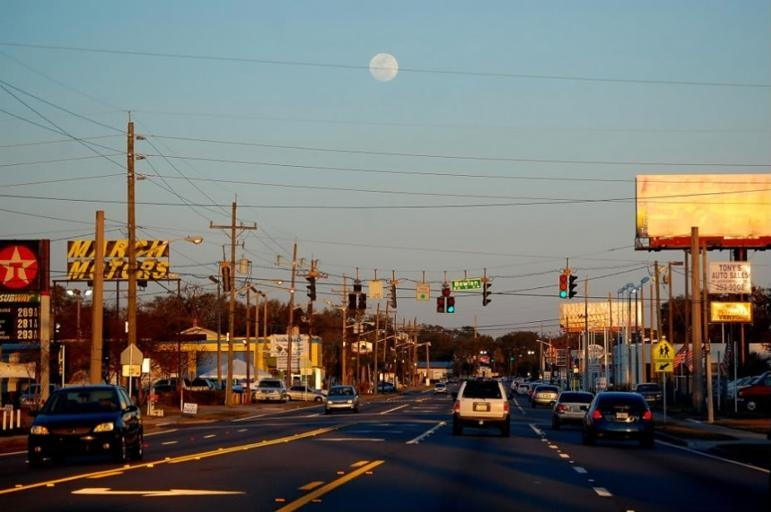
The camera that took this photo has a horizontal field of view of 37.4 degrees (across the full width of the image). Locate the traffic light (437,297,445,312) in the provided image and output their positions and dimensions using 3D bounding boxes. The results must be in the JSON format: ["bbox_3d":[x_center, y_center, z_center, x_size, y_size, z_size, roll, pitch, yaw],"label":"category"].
[{"bbox_3d":[3.517,2.938,70.258,0.283,0.795,0.976,0,-10,-10],"label":"traffic light"}]

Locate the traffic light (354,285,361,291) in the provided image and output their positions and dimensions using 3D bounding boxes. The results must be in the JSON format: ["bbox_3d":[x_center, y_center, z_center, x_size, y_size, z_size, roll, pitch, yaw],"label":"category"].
[{"bbox_3d":[-1.736,1.973,71.448,0.365,0.355,0.191,1,1,1],"label":"traffic light"}]

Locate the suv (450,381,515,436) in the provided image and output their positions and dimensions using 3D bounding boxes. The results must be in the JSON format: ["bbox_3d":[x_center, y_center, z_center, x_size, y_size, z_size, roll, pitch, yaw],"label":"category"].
[{"bbox_3d":[4.672,7.112,54.348,2.110,2.130,5.114,-1,-4,8],"label":"suv"}]

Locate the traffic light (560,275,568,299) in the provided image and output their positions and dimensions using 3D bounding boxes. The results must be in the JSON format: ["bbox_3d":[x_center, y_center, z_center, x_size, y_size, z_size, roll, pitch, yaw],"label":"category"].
[{"bbox_3d":[10.401,1.717,65.998,0.236,1.412,0.620,-10,-13,44],"label":"traffic light"}]
